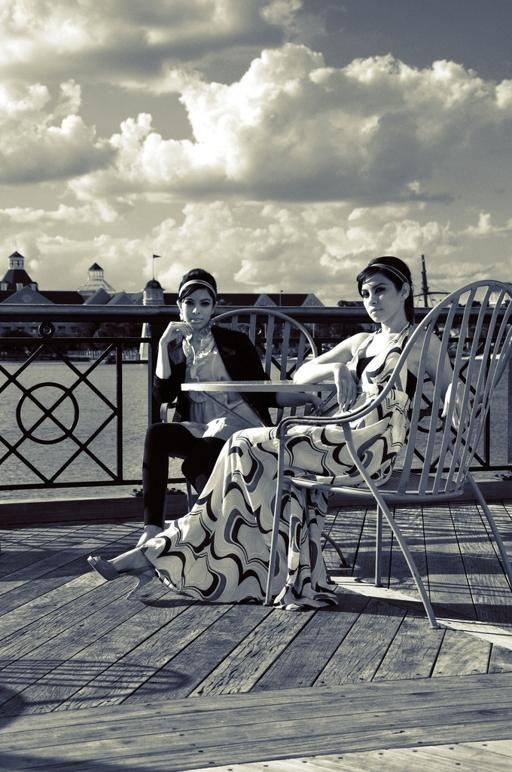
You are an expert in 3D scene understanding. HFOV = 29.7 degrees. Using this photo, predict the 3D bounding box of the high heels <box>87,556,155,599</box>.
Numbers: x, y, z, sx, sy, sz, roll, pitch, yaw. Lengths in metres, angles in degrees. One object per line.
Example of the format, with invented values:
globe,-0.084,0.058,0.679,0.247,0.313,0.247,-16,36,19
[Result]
high heels,-0.354,0.491,2.584,0.155,0.124,0.306,-1,2,-7

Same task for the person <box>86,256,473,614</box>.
person,0.106,0.109,2.627,0.959,0.857,0.352,1,12,30
